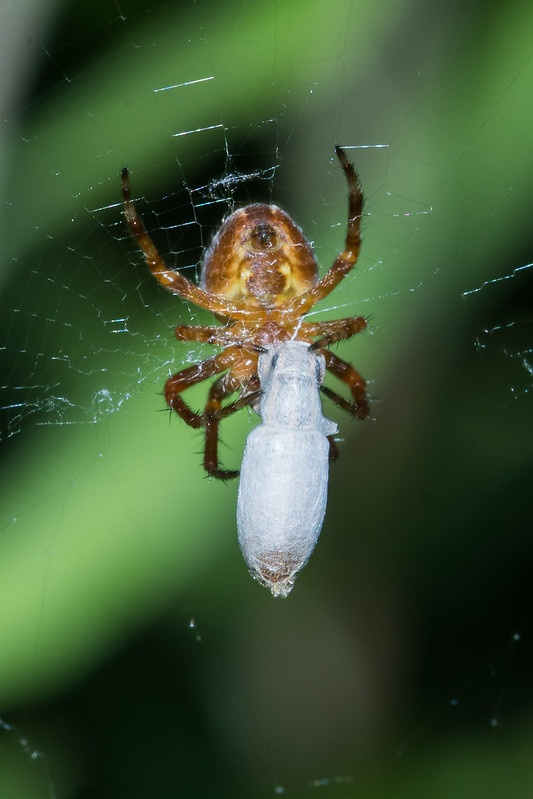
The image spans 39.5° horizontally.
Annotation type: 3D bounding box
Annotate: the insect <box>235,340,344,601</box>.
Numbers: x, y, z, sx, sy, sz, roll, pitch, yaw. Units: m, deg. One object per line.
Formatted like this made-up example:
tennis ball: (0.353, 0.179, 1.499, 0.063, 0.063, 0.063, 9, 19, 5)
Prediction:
insect: (0.022, 0.080, 0.836, 0.110, 0.078, 0.278, 4, 79, 1)
